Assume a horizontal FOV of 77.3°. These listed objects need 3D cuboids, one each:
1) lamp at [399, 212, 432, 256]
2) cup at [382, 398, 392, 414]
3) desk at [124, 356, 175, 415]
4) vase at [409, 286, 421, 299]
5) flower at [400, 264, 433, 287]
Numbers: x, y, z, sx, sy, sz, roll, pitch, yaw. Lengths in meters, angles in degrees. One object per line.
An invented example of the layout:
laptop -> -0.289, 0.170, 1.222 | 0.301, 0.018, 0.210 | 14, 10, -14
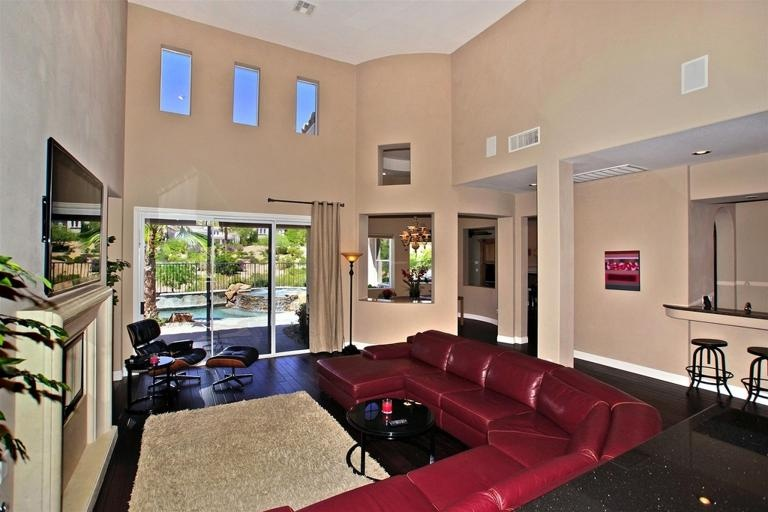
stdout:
lamp -> 0.659, -0.454, 10.350 | 0.820, 1.015, 0.862 | 0, 6, -5
cup -> 0.051, 1.637, 5.260 | 0.120, 0.115, 0.104 | -3, 4, -20
desk -> -3.169, 1.704, 6.564 | 0.738, 0.820, 0.737 | 2, 3, -11
vase -> 0.609, 0.719, 9.297 | 0.229, 0.224, 0.231 | -2, -4, 22
flower -> 0.705, 0.366, 10.547 | 0.568, 0.412, 0.558 | 2, -9, -9
